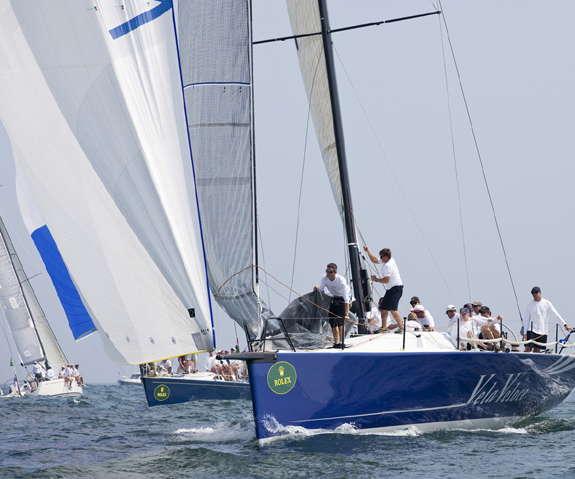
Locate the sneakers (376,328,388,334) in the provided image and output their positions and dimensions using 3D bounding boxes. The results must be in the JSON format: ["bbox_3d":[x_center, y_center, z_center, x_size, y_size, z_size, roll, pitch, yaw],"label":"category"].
[{"bbox_3d":[1.146,1.120,9.196,0.149,0.075,0.060,-1,-12,3],"label":"sneakers"}]

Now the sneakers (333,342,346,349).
[{"bbox_3d":[0.591,1.194,8.434,0.152,0.081,0.236,-8,-9,2],"label":"sneakers"}]

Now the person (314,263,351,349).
[{"bbox_3d":[0.526,0.811,9.068,0.496,1.046,0.430,0,-2,4],"label":"person"}]
